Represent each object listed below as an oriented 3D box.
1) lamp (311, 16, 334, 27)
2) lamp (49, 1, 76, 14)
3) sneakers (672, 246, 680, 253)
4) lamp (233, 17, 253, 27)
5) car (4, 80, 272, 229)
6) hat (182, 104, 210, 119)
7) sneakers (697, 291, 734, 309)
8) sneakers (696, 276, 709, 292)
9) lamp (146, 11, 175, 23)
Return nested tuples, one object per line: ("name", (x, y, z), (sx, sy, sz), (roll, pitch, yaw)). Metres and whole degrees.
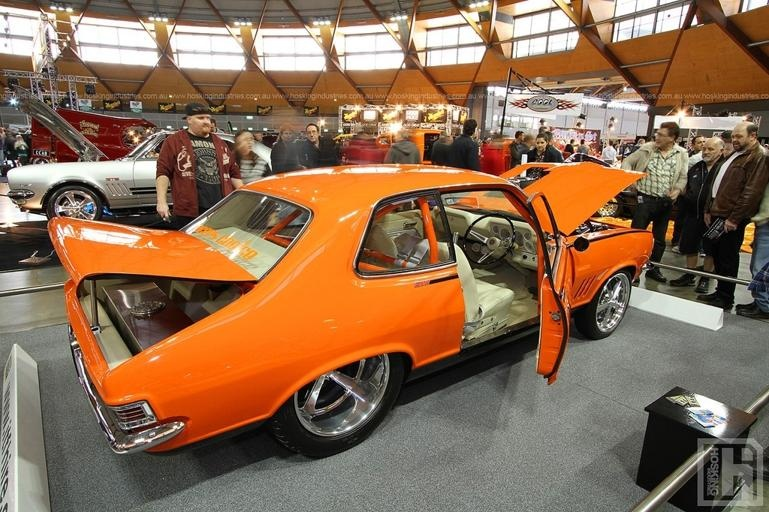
("lamp", (-4.387, -16.846, 30.668), (1.477, 0.446, 0.791), (-1, 17, -2))
("lamp", (-21.045, -16.410, 28.130), (1.381, 0.377, 0.467), (0, 19, -17))
("sneakers", (5.422, -0.122, 8.005), (0.085, 0.101, 0.241), (16, 24, 41))
("lamp", (-10.128, -16.872, 30.872), (1.354, 0.338, 0.609), (1, 17, 3))
("car", (-4.077, -2.068, 8.792), (5.773, 2.427, 2.182), (-7, 21, -26))
("hat", (-2.013, -1.587, 4.629), (0.215, 0.153, 0.259), (-9, 19, -25))
("sneakers", (4.336, 0.579, 5.615), (0.485, 0.191, 0.169), (6, 18, 25))
("sneakers", (4.640, 0.421, 6.251), (0.444, 0.172, 0.145), (-7, 8, -44))
("lamp", (-15.384, -16.503, 29.561), (1.322, 0.518, 0.404), (-6, 34, -22))
